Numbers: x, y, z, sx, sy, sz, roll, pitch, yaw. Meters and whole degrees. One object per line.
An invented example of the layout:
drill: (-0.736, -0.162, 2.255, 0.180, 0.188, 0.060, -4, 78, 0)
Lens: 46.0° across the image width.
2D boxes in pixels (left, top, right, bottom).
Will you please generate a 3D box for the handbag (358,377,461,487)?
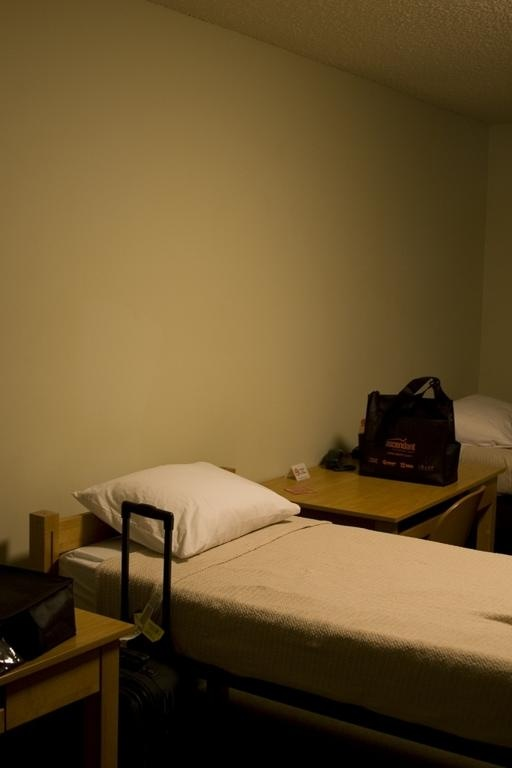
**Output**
handbag: (0.650, 0.223, 2.617, 0.439, 0.452, 0.218, 1, 0, 36)
